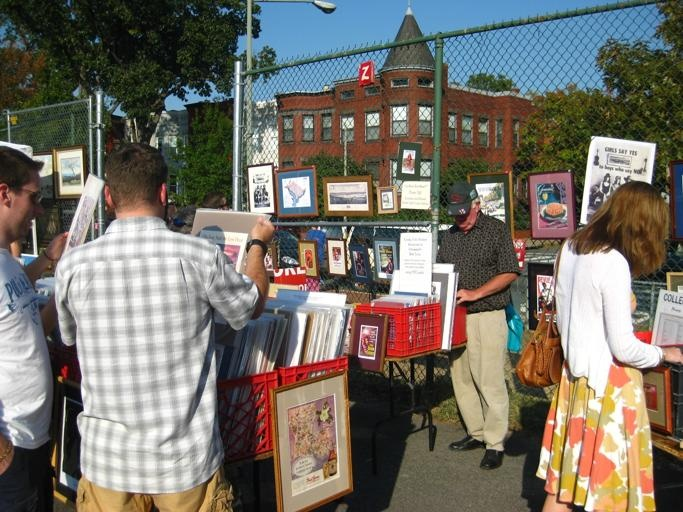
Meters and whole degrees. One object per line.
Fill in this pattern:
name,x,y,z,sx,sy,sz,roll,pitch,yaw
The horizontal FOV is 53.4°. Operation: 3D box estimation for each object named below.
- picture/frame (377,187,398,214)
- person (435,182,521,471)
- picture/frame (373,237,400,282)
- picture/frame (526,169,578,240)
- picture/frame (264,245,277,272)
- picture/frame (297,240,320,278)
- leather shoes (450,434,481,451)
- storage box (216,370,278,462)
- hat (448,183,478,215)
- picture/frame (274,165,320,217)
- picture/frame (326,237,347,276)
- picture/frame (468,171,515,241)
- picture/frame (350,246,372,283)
picture/frame,0.507,-0.598,7.348,0.252,0.364,0.024,1,4,33
person,1.226,0.585,6.266,0.714,2.492,0.622,4,9,36
picture/frame,0.507,0.029,7.486,0.388,0.623,0.060,5,12,41
picture/frame,1.960,-0.471,6.281,0.578,0.936,0.037,0,1,42
picture/frame,-0.792,0.030,7.746,0.042,0.366,0.285,2,-3,-38
picture/frame,-0.397,0.044,8.483,0.034,0.531,0.391,-1,-1,-43
leather shoes,1.185,1.764,6.453,0.307,0.144,0.125,3,-2,-9
storage box,-0.589,0.996,4.307,0.434,0.322,0.425,-2,-2,-44
hat,1.125,-0.538,6.280,0.196,0.186,0.334,2,41,31
picture/frame,-0.513,-0.745,7.944,0.509,0.608,0.052,-2,0,40
picture/frame,-0.047,0.010,8.269,0.041,0.582,0.389,-8,8,-41
picture/frame,1.447,-0.460,6.498,0.565,0.928,0.037,2,9,37
picture/frame,0.240,0.093,7.944,0.045,0.483,0.364,-9,7,-30
